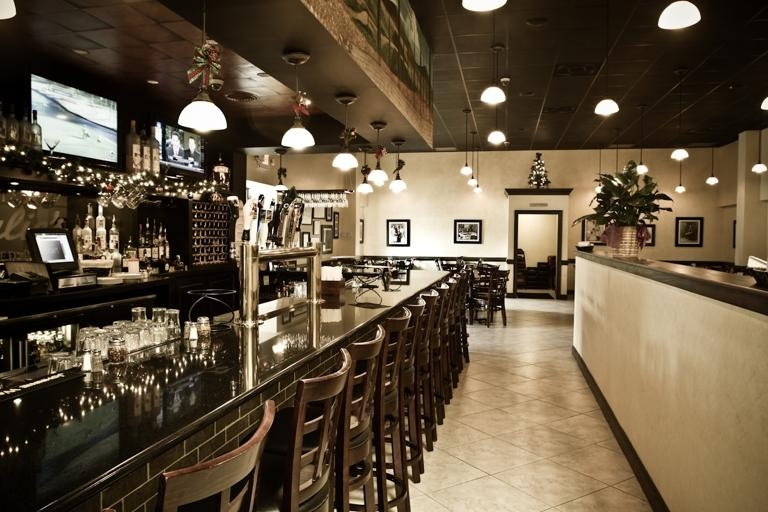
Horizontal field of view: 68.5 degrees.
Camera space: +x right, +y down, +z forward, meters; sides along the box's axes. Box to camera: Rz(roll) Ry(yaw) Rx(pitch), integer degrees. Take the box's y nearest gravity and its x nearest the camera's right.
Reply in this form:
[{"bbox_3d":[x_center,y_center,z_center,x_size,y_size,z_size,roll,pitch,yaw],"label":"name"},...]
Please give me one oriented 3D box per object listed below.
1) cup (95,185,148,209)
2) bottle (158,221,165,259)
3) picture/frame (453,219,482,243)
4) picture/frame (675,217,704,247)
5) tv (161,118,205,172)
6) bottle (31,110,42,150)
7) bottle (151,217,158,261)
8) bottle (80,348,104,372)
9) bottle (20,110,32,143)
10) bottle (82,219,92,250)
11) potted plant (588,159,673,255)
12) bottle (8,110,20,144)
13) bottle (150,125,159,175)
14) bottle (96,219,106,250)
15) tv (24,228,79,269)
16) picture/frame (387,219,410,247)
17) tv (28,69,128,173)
[{"bbox_3d":[-3.225,-0.708,6.924,0.488,0.188,0.292,-2,-9,-32],"label":"cup"},{"bbox_3d":[-3.160,-0.210,8.014,0.104,0.407,0.562,-4,13,-20],"label":"bottle"},{"bbox_3d":[2.402,-0.699,15.906,0.627,0.626,0.048,1,-2,6],"label":"picture/frame"},{"bbox_3d":[8.113,-0.660,14.864,0.726,0.899,0.060,1,-1,12],"label":"picture/frame"},{"bbox_3d":[-2.910,-1.504,7.912,0.075,0.628,1.096,2,1,21],"label":"tv"},{"bbox_3d":[-3.678,-1.327,5.937,0.105,0.402,0.209,-6,14,-31],"label":"bottle"},{"bbox_3d":[-3.226,-0.231,7.914,0.093,0.435,0.552,-4,13,-21],"label":"bottle"},{"bbox_3d":[-1.754,0.630,3.380,0.143,0.147,0.096,3,-1,-10],"label":"bottle"},{"bbox_3d":[-3.757,-1.325,5.892,0.119,0.307,0.169,-5,13,-26],"label":"bottle"},{"bbox_3d":[-3.679,-0.255,6.968,0.094,0.338,0.356,-5,13,-24],"label":"bottle"},{"bbox_3d":[2.718,-0.437,6.198,0.745,0.799,0.668,-4,2,3],"label":"potted plant"},{"bbox_3d":[-3.816,-1.322,5.783,0.068,0.270,0.122,11,16,41],"label":"bottle"},{"bbox_3d":[-3.015,-1.389,7.423,0.082,0.624,0.340,-2,12,-12],"label":"bottle"},{"bbox_3d":[-3.586,-0.281,7.118,0.121,0.418,0.400,-5,13,-27],"label":"bottle"},{"bbox_3d":[-3.592,-0.067,6.135,0.181,0.491,0.540,5,13,21],"label":"tv"},{"bbox_3d":[0.442,-0.685,16.366,0.730,0.871,0.035,0,-1,7],"label":"picture/frame"},{"bbox_3d":[-3.530,-1.534,6.403,0.126,0.957,1.307,0,-2,20],"label":"tv"}]
